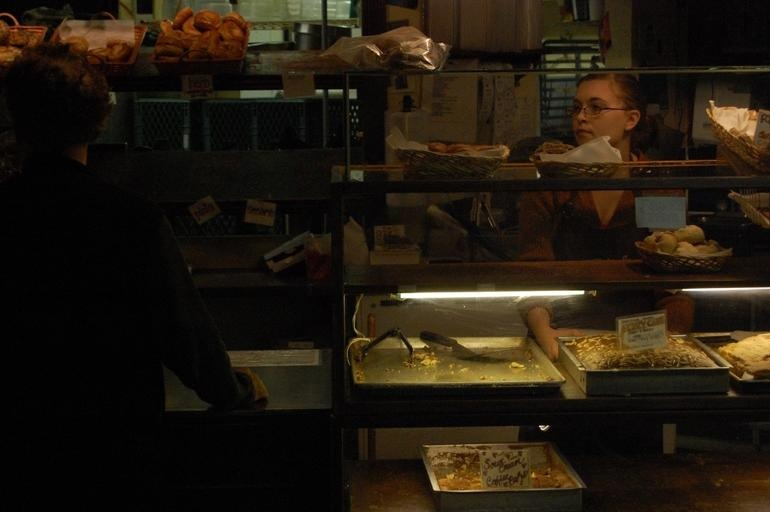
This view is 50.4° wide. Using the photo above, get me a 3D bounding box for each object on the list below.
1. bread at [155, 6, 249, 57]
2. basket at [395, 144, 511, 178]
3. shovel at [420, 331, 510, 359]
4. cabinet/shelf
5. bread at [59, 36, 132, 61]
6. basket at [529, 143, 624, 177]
[{"bbox_3d":[-0.923,-1.109,4.094,0.339,0.305,0.109,-1,-20,-4],"label":"bread"},{"bbox_3d":[0.285,-0.395,3.461,0.459,0.148,0.089,-1,17,6],"label":"basket"},{"bbox_3d":[0.337,0.406,3.725,0.306,0.053,0.158,21,1,5],"label":"shovel"},{"bbox_3d":[0.310,0.161,3.728,2.435,1.144,0.360,-1,9,-4],"label":"cabinet/shelf"},{"bbox_3d":[-1.448,-1.027,4.090,0.302,0.085,0.289,1,28,-8],"label":"bread"},{"bbox_3d":[0.824,-0.393,3.462,0.257,0.094,0.185,-5,7,-1],"label":"basket"}]
